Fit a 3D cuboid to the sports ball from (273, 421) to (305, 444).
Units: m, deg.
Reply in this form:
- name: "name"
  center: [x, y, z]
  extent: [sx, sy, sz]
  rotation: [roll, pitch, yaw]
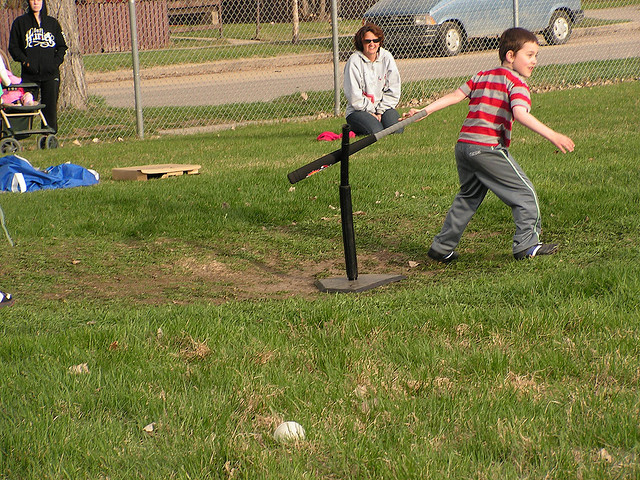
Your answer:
- name: "sports ball"
  center: [-0.181, 1.102, 5.786]
  extent: [0.180, 0.091, 0.125]
  rotation: [-2, 16, -3]

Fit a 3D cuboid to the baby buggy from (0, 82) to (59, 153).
- name: "baby buggy"
  center: [-3.985, -1.617, 13.636]
  extent: [0.854, 1.165, 0.711]
  rotation: [-2, 11, -14]

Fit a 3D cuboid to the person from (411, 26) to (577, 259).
- name: "person"
  center: [1.360, -0.708, 8.065]
  extent: [1.004, 1.849, 0.717]
  rotation: [2, 16, 12]
